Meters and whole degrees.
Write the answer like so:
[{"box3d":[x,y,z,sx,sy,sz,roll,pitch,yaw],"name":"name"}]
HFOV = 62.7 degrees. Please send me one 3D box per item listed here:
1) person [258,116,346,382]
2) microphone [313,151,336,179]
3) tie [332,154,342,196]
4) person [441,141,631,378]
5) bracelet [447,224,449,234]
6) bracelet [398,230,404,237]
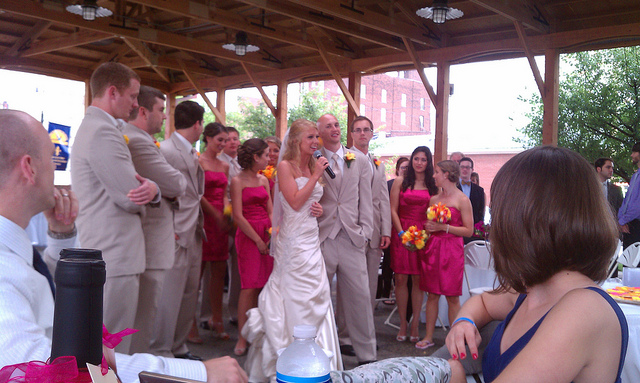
[{"box3d":[-0.202,0.535,4.961,0.797,2.518,0.847,-2,1,1],"name":"person"},{"box3d":[0.046,-0.268,5.222,0.186,0.278,0.381,-1,1,28],"name":"microphone"},{"box3d":[0.166,-0.175,5.430,0.084,0.415,0.067,-3,-17,-7],"name":"tie"},{"box3d":[1.100,0.370,2.724,0.838,1.230,0.594,-1,2,30],"name":"person"},{"box3d":[1.451,0.423,5.984,0.019,0.097,0.025,9,1,21],"name":"bracelet"},{"box3d":[0.953,0.491,6.226,0.065,0.018,0.065,-21,-3,-15],"name":"bracelet"}]
